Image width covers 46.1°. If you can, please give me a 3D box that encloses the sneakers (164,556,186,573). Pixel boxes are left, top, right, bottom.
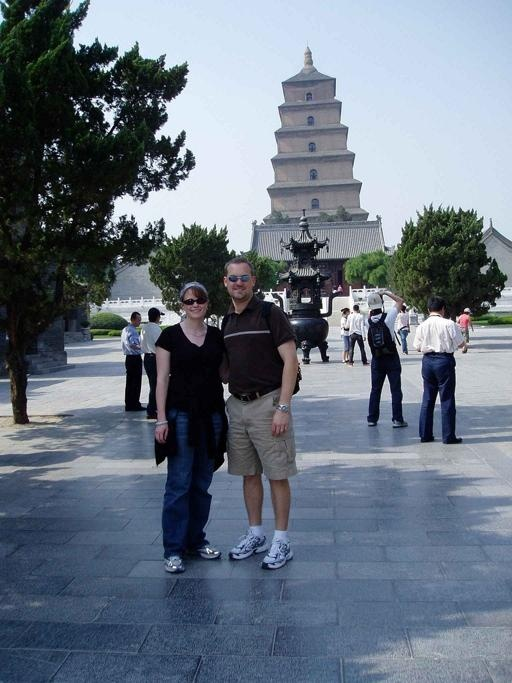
[{"bbox_3d":[-0.444,1.217,3.283,0.113,0.084,0.139,-1,4,-9],"label":"sneakers"}]

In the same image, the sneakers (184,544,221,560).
[{"bbox_3d":[-0.304,1.237,3.502,0.213,0.085,0.075,-3,-2,18],"label":"sneakers"}]

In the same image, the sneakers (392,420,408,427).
[{"bbox_3d":[1.871,1.087,7.862,0.078,0.087,0.217,2,-7,-44],"label":"sneakers"}]

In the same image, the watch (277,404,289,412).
[{"bbox_3d":[0.147,0.358,3.289,0.061,0.036,0.058,1,-4,25],"label":"watch"}]

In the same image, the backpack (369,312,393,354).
[{"bbox_3d":[1.611,-0.088,7.688,0.371,0.541,0.334,-5,-7,12],"label":"backpack"}]

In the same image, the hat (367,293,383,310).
[{"bbox_3d":[1.509,-0.507,7.649,0.194,0.235,0.246,-6,-3,10],"label":"hat"}]

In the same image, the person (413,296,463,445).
[{"bbox_3d":[2.085,0.336,6.893,0.528,1.690,0.995,0,4,18],"label":"person"}]

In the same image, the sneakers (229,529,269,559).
[{"bbox_3d":[-0.037,1.188,3.532,0.097,0.123,0.274,-5,-5,40],"label":"sneakers"}]

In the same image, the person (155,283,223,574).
[{"bbox_3d":[-0.405,0.467,3.465,0.380,1.612,0.608,1,5,29],"label":"person"}]

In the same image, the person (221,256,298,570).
[{"bbox_3d":[0.021,0.381,3.459,0.407,1.753,0.554,-4,5,-31],"label":"person"}]
